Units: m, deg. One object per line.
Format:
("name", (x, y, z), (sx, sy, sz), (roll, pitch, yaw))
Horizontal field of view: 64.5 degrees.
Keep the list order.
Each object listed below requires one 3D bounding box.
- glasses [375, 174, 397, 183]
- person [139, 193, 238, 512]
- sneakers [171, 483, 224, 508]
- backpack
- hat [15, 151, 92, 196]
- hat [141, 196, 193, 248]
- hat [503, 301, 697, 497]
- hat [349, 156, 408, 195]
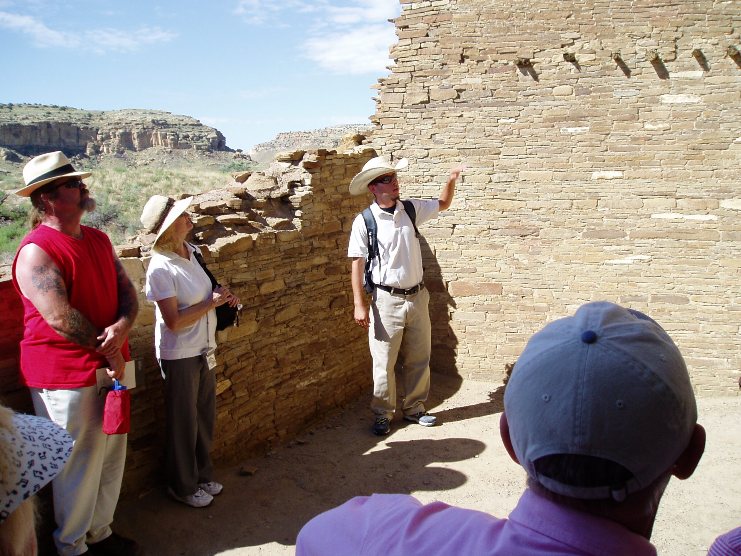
("glasses", (0.139, -0.904, 5.431), (0.111, 0.027, 0.108), (-13, -3, 29))
("person", (-1.361, 0.592, 4.449), (0.394, 2.406, 0.606), (9, 16, 40))
("sneakers", (-1.392, 1.697, 4.600), (0.274, 0.084, 0.158), (7, 19, 1))
("backpack", (0.222, -0.287, 5.543), (0.543, 0.864, 0.288), (-8, 14, -31))
("hat", (-2.007, -0.653, 3.654), (0.367, 0.127, 0.300), (-26, 4, -3))
("hat", (-1.496, -0.398, 4.316), (0.333, 0.165, 0.386), (-61, 9, -26))
("hat", (0.675, 0.325, 1.696), (0.476, 0.353, 0.555), (5, 55, 24))
("hat", (0.036, -0.970, 5.492), (0.486, 0.166, 0.461), (-31, -6, 2))
